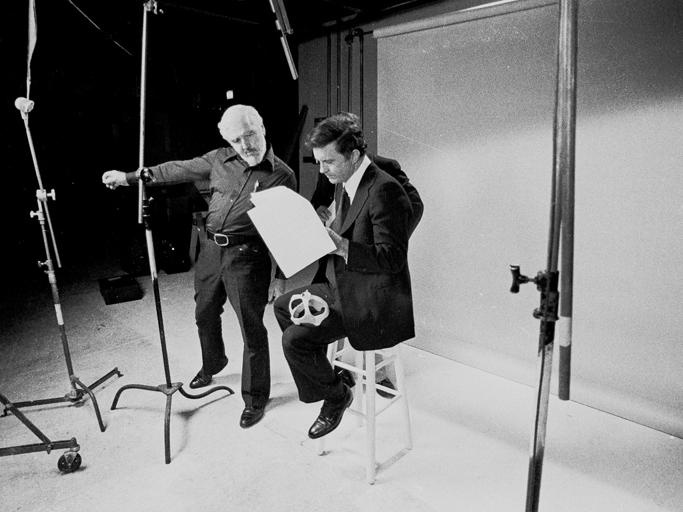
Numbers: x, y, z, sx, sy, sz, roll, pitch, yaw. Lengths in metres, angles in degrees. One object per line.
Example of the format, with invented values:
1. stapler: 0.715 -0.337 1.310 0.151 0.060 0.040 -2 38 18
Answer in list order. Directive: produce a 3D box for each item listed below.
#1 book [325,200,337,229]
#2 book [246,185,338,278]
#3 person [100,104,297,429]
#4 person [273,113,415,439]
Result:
1. book: -0.059 -0.251 3.353 0.033 0.131 0.090 15 0 -12
2. book: -0.251 -0.104 2.908 0.346 0.564 0.123 -25 -16 -5
3. person: -0.796 0.075 3.638 1.298 2.055 0.695 9 21 7
4. person: 0.024 0.132 3.263 0.749 1.801 0.756 7 12 20
